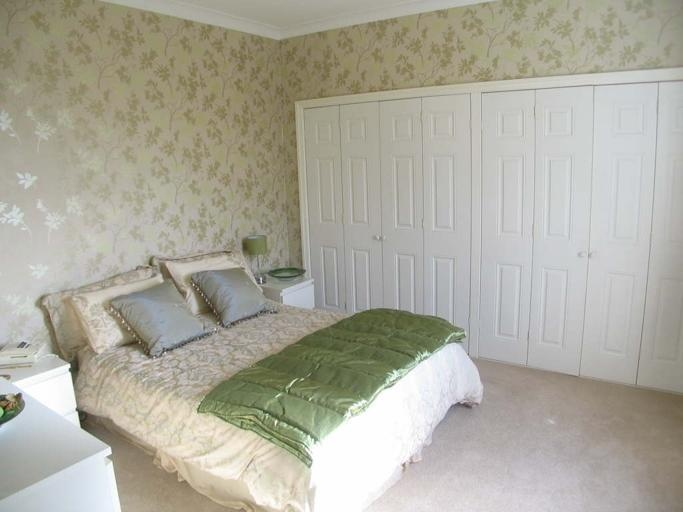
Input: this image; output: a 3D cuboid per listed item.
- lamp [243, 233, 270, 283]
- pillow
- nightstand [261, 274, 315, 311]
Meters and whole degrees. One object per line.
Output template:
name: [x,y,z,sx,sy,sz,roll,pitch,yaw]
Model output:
lamp: [-0.878,0.031,4.875,0.201,0.470,0.205,-6,7,-13]
pillow: [-1.757,0.375,3.887,1.141,0.707,0.357,-17,-24,-39]
nightstand: [-0.532,0.430,4.896,0.421,0.335,0.324,-20,24,-36]
